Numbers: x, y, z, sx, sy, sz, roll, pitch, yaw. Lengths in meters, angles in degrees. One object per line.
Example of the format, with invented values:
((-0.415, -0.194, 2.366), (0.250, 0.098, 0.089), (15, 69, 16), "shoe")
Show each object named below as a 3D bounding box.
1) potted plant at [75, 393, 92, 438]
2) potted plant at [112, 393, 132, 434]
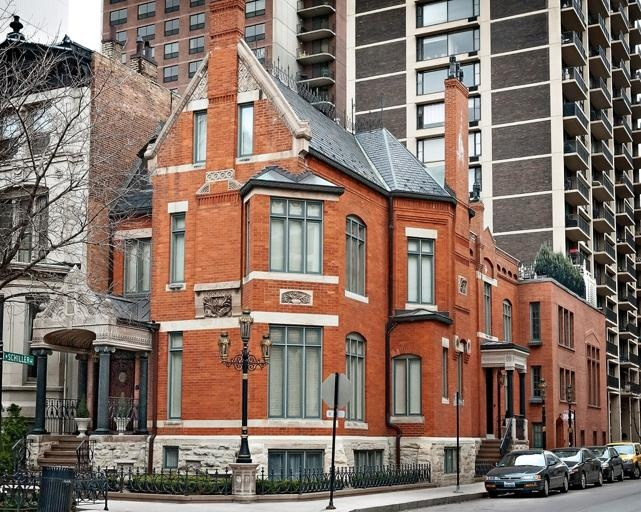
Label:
((-10.151, 6.827, 54.487), (0.688, 1.802, 0.691), (-2, -11, 13), "potted plant")
((-8.605, 6.890, 55.104), (1.120, 1.585, 0.877), (1, -9, -3), "potted plant")
